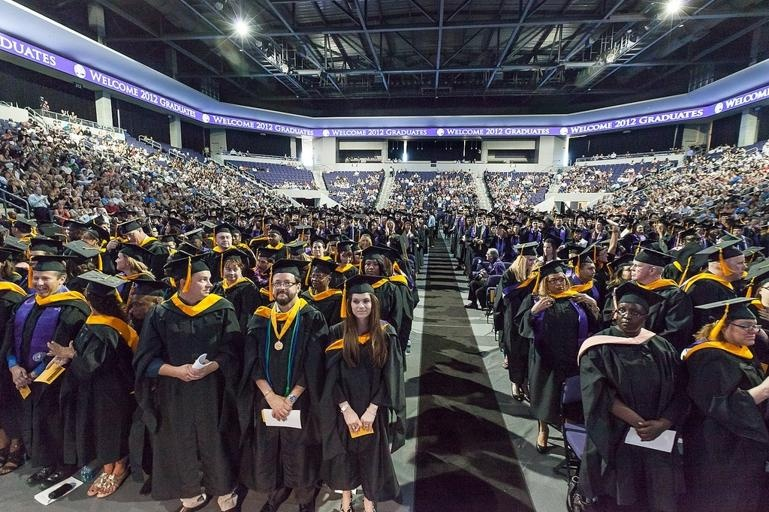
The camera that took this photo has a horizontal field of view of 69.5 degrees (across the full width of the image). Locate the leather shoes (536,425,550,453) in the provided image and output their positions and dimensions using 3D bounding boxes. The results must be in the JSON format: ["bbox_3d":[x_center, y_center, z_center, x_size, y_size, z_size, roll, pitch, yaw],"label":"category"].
[{"bbox_3d":[3.264,3.743,11.526,0.209,0.595,0.251,-6,-10,33],"label":"leather shoes"}]

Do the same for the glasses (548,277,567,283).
[{"bbox_3d":[3.558,0.474,11.415,0.352,0.120,0.125,2,4,-18],"label":"glasses"}]
